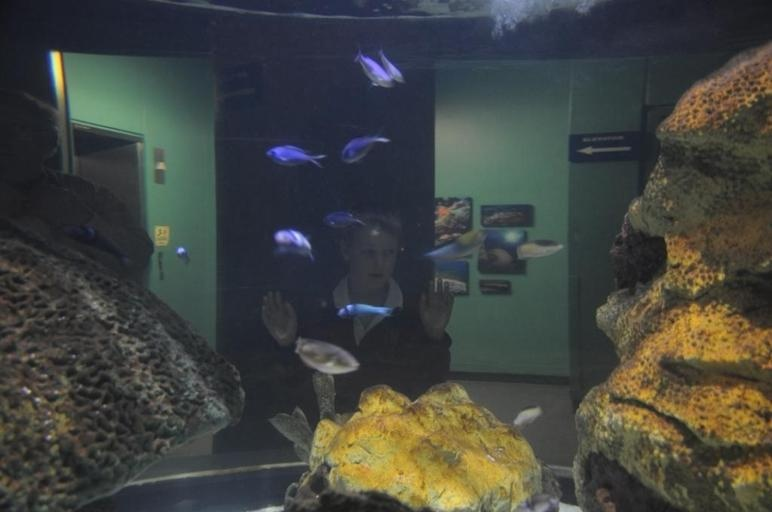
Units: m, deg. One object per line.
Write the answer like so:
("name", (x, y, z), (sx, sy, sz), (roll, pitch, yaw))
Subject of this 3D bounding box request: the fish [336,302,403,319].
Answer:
("fish", (-0.105, 0.306, 3.958), (0.326, 0.120, 0.131), (1, -7, -14))

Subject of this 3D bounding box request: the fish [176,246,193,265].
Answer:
("fish", (-1.087, -0.010, 3.751), (0.052, 0.035, 0.125), (22, -12, -2))

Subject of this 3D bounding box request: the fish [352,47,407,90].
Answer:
("fish", (-0.035, -1.031, 3.833), (0.277, 0.187, 0.157), (1, 6, -7))

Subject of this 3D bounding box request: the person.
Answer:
("person", (-0.140, 0.335, 3.941), (1.082, 1.692, 0.491), (0, -4, -3))

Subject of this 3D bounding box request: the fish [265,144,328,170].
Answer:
("fish", (-0.506, -0.568, 3.940), (0.268, 0.120, 0.063), (7, 24, -9))

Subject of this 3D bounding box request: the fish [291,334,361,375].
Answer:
("fish", (-0.314, 0.547, 3.824), (0.306, 0.185, 0.106), (5, -18, 11))

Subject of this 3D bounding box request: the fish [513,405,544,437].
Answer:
("fish", (0.778, 0.907, 3.875), (0.122, 0.141, 0.425), (-4, -18, 26))

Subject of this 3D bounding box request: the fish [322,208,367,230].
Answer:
("fish", (-0.227, -0.212, 3.982), (0.203, 0.102, 0.045), (4, 46, -2))

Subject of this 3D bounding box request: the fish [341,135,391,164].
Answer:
("fish", (-0.112, -0.599, 3.941), (0.266, 0.156, 0.071), (1, 6, -4))

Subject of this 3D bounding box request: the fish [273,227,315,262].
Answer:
("fish", (-0.525, -0.064, 3.992), (0.223, 0.175, 0.084), (-1, 6, -16))
